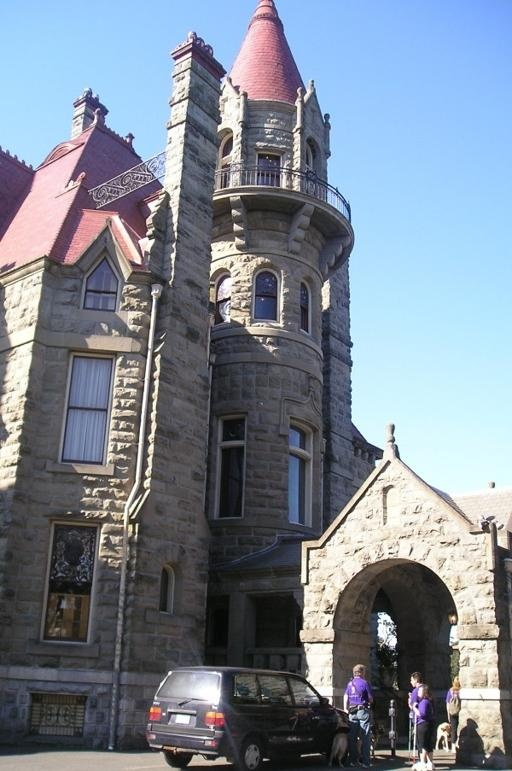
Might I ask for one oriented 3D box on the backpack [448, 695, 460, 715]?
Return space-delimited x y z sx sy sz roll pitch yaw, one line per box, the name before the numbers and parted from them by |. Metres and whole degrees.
backpack | 3.459 5.619 14.060 0.114 0.316 0.284 16 -23 -26
